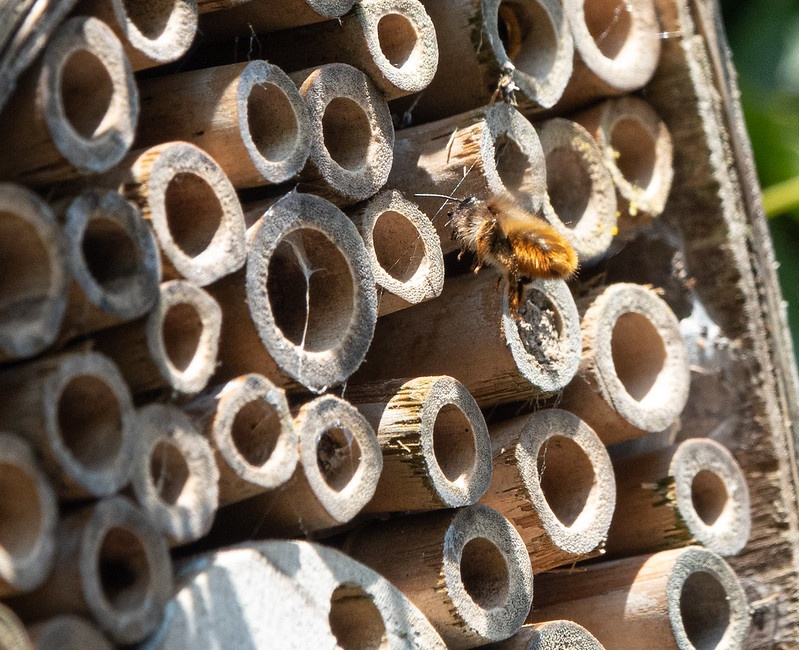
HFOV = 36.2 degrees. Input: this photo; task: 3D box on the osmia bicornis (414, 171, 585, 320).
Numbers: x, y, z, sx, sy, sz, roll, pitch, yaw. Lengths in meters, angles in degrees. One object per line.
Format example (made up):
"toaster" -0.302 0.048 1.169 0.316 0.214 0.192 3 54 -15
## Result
"osmia bicornis" 0.254 -0.197 3.017 0.351 0.206 0.207 36 24 17
